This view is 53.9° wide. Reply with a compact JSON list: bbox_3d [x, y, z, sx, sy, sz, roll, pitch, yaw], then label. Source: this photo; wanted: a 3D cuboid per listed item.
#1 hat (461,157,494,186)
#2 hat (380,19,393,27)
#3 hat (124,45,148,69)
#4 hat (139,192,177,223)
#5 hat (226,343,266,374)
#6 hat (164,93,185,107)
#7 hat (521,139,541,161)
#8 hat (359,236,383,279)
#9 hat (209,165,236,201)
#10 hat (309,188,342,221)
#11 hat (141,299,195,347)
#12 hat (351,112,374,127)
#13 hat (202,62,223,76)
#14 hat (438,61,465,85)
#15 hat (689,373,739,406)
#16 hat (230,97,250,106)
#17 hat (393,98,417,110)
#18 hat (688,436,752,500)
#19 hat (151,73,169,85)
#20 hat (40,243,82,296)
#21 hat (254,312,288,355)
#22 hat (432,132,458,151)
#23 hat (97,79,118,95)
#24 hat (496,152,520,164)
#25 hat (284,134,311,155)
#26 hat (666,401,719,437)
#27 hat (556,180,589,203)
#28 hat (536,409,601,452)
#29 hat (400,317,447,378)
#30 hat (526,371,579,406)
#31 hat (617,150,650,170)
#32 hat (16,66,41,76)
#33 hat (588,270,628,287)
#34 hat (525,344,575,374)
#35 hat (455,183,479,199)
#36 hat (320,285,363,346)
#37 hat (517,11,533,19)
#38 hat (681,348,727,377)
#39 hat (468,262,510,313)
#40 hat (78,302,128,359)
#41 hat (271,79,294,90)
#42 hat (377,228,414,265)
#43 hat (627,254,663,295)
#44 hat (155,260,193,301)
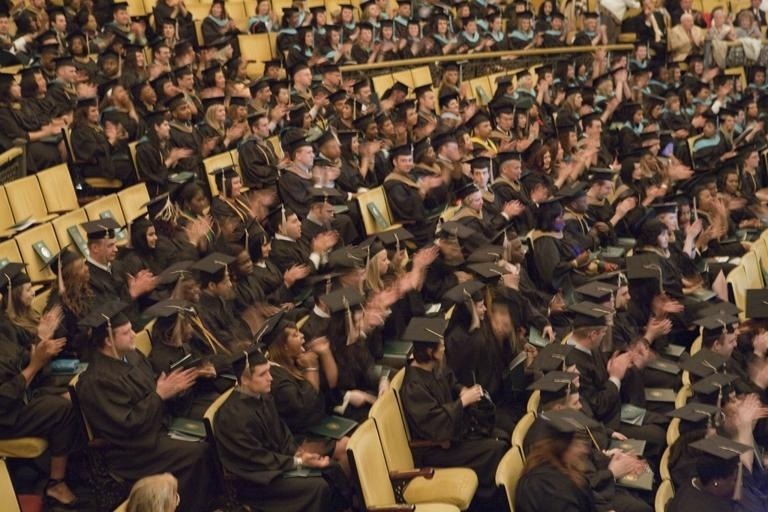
[{"bbox_3d":[1.549,-1.423,12.536,0.480,0.483,1.008,5,10,6],"label":"hat"},{"bbox_3d":[0.036,-5.600,18.070,0.247,0.190,0.261,0,12,11],"label":"hat"},{"bbox_3d":[-4.838,-3.907,14.684,0.380,0.472,0.467,1,10,-21],"label":"hat"},{"bbox_3d":[-3.239,-0.686,10.878,0.374,0.272,0.413,-15,15,33],"label":"hat"},{"bbox_3d":[-1.504,1.125,8.295,0.342,0.279,0.337,-18,7,9],"label":"hat"},{"bbox_3d":[-3.664,-2.727,13.255,0.275,0.140,0.280,-22,5,-2],"label":"hat"},{"bbox_3d":[2.675,-1.916,13.785,0.350,0.381,0.516,6,10,10],"label":"hat"},{"bbox_3d":[-0.114,0.012,10.089,0.218,0.431,0.284,16,-8,-34],"label":"hat"},{"bbox_3d":[-2.452,-1.151,11.768,0.444,0.544,0.447,-8,15,-8],"label":"hat"},{"bbox_3d":[-0.956,-0.765,11.588,0.519,0.709,0.463,-3,16,-18],"label":"hat"},{"bbox_3d":[-2.589,0.721,9.073,0.474,0.398,0.567,-14,13,-20],"label":"hat"},{"bbox_3d":[-0.361,-2.488,13.736,0.278,0.105,0.279,-21,-1,-21],"label":"hat"},{"bbox_3d":[-3.307,-3.636,14.607,0.315,0.258,0.555,3,10,-9],"label":"hat"},{"bbox_3d":[1.492,-4.135,17.095,0.525,0.629,0.603,-2,2,-5],"label":"hat"},{"bbox_3d":[3.900,1.574,8.969,0.324,0.168,0.445,10,27,43],"label":"hat"},{"bbox_3d":[-2.613,-2.792,13.584,0.296,0.163,0.178,0,11,-25],"label":"hat"},{"bbox_3d":[0.382,-2.941,14.614,0.436,0.142,0.456,-2,2,26],"label":"hat"},{"bbox_3d":[3.453,2.179,7.974,0.540,0.577,0.554,3,13,4],"label":"hat"},{"bbox_3d":[-4.099,-3.229,13.815,0.336,0.326,0.317,-1,11,-28],"label":"hat"},{"bbox_3d":[-4.105,0.187,9.569,0.577,0.643,0.630,-3,-6,4],"label":"hat"},{"bbox_3d":[-1.228,0.963,8.759,0.398,0.127,0.420,-42,9,-6],"label":"hat"},{"bbox_3d":[1.021,-1.991,12.983,0.323,0.114,0.332,-10,3,-10],"label":"hat"},{"bbox_3d":[-4.887,-3.004,13.358,0.381,0.108,0.426,-24,1,24],"label":"hat"},{"bbox_3d":[2.111,-1.667,12.807,0.344,0.212,0.346,5,10,5],"label":"hat"},{"bbox_3d":[-1.438,-1.845,12.504,0.353,0.136,0.361,-15,8,7],"label":"hat"},{"bbox_3d":[3.571,1.910,8.756,0.443,0.352,0.458,12,12,38],"label":"hat"},{"bbox_3d":[2.981,-1.010,12.055,0.761,0.338,0.330,-2,12,-34],"label":"hat"},{"bbox_3d":[1.957,1.811,8.027,0.464,0.265,0.647,12,13,39],"label":"hat"},{"bbox_3d":[0.489,1.049,8.785,0.605,0.672,0.478,10,33,6],"label":"hat"},{"bbox_3d":[1.930,1.414,8.544,0.408,0.292,0.390,-25,16,-5],"label":"hat"},{"bbox_3d":[4.616,-1.764,13.924,0.611,0.394,0.351,-1,11,-29],"label":"hat"},{"bbox_3d":[-6.163,-3.206,13.160,0.316,0.265,0.450,0,11,-25],"label":"hat"},{"bbox_3d":[3.164,0.331,10.446,0.299,0.122,0.317,-5,5,-24],"label":"hat"},{"bbox_3d":[1.978,1.238,9.030,0.318,0.148,0.487,5,31,20],"label":"hat"},{"bbox_3d":[1.297,-0.989,11.592,0.245,0.113,0.357,-10,-8,-2],"label":"hat"},{"bbox_3d":[-0.503,0.755,8.970,0.508,0.588,0.256,-20,6,-40],"label":"hat"},{"bbox_3d":[3.674,-6.342,19.843,0.248,0.085,0.275,1,1,20],"label":"hat"},{"bbox_3d":[3.928,1.338,9.336,0.361,0.108,0.372,12,37,45],"label":"hat"},{"bbox_3d":[1.361,0.380,10.027,0.451,0.655,0.564,-18,27,-40],"label":"hat"},{"bbox_3d":[-3.183,0.875,8.576,0.493,0.512,0.507,25,10,10],"label":"hat"},{"bbox_3d":[-1.957,-3.234,14.188,0.339,0.157,0.267,6,10,9],"label":"hat"},{"bbox_3d":[0.162,-0.045,10.882,0.506,0.510,0.526,-2,41,-4],"label":"hat"},{"bbox_3d":[3.664,0.272,10.698,0.488,0.404,0.513,-2,-1,28],"label":"hat"},{"bbox_3d":[-2.754,0.291,9.735,0.470,0.269,0.536,-22,9,12],"label":"hat"}]
